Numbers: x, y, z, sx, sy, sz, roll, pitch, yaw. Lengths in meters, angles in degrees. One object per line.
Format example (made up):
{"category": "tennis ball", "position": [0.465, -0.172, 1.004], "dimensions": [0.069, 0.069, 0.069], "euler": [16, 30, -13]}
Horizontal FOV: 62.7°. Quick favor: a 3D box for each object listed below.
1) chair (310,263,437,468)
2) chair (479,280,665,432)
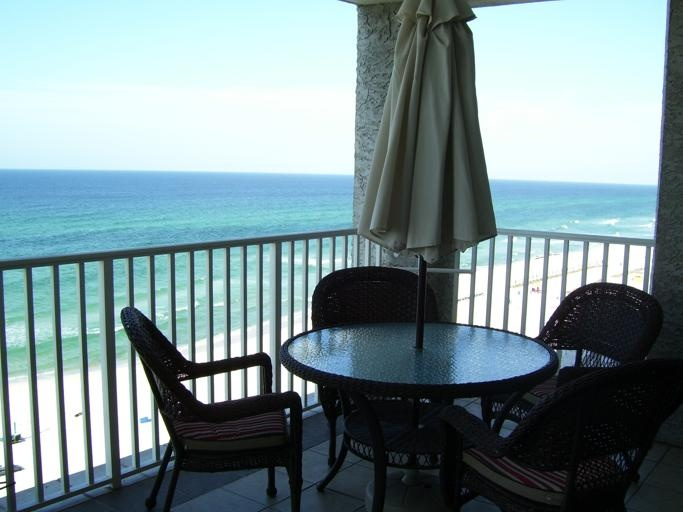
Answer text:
{"category": "chair", "position": [0.169, 0.605, 3.662], "dimensions": [1.058, 1.410, 1.008], "euler": [-2, 4, -8]}
{"category": "chair", "position": [1.225, 0.544, 3.424], "dimensions": [0.965, 1.209, 0.816], "euler": [-2, 8, -17]}
